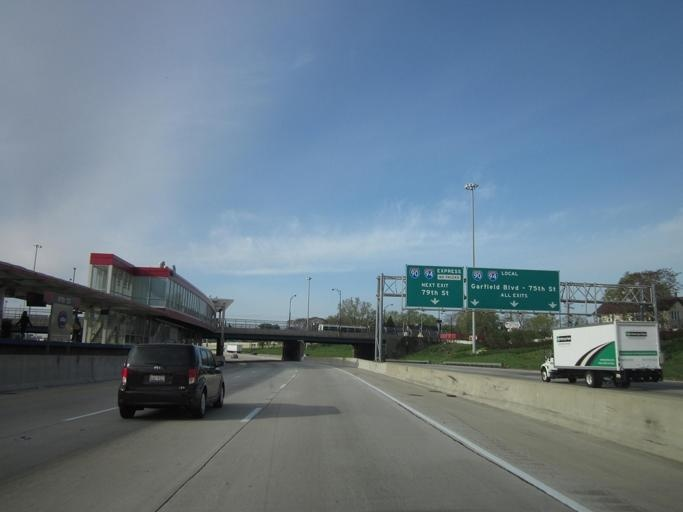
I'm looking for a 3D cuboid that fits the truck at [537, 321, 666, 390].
[{"bbox_3d":[14.530,6.025,30.771,2.624,3.985,9.157,4,-12,-7],"label":"truck"}]

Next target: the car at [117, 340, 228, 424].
[{"bbox_3d":[-4.509,3.431,14.408,1.650,1.982,2.960,-9,-14,38],"label":"car"}]
